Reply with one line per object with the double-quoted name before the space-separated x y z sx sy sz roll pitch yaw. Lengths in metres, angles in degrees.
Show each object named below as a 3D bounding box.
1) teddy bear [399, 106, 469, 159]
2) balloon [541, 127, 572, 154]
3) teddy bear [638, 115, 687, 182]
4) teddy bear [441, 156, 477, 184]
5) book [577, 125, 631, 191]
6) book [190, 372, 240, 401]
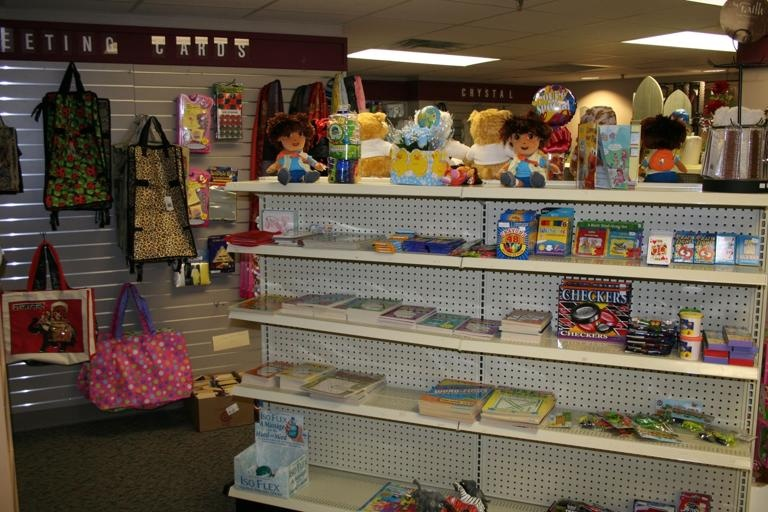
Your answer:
"teddy bear" 0.317 -0.856 4.158 0.443 0.226 0.472 11 -4 5
"balloon" 1.192 -0.798 4.177 0.221 0.207 0.074 4 -8 -18
"teddy bear" 1.865 -0.733 4.079 0.305 0.428 0.664 -3 11 26
"teddy bear" 0.536 -0.594 4.173 0.194 0.111 0.253 3 11 7
"book" 1.304 -0.612 3.729 0.202 0.401 0.373 -16 13 -36
"book" -1.681 1.294 6.069 0.507 0.192 0.648 -1 4 -20
